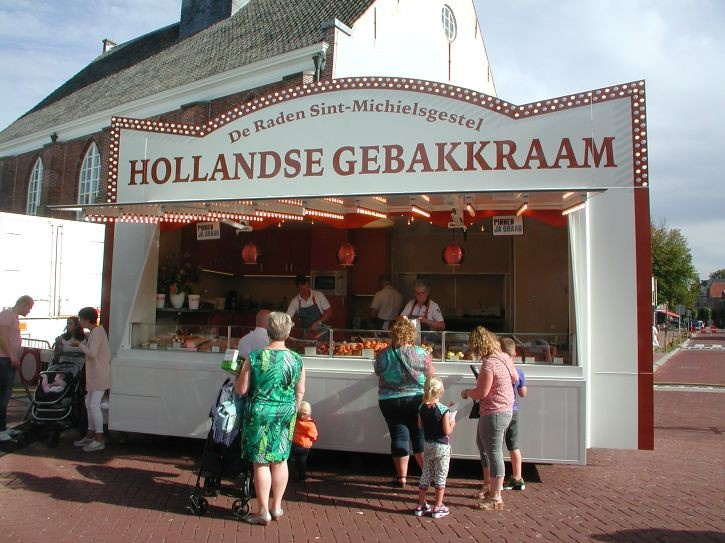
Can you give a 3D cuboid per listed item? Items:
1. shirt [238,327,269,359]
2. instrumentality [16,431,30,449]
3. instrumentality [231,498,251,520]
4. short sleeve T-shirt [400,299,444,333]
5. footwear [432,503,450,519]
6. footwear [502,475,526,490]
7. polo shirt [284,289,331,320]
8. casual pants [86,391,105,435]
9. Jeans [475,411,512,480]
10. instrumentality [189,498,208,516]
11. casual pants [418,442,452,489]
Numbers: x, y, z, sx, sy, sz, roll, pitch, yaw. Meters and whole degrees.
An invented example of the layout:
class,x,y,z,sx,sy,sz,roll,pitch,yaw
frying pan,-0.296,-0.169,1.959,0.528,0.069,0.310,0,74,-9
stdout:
class,x,y,z,sx,sy,sz,roll,pitch,yaw
shirt,-1.278,0.849,7.245,0.414,0.408,0.224,5,3,36
instrumentality,-4.886,2.418,8.790,0.049,0.166,0.159,-4,-13,10
instrumentality,-1.325,2.560,6.700,0.192,0.208,0.061,8,-1,-1
short sleeve T-shirt,0.911,0.630,9.379,0.680,0.631,0.431,-1,-7,18
footwear,0.847,2.619,6.713,0.228,0.109,0.087,1,-3,-44
footwear,1.863,2.603,7.558,0.278,0.136,0.131,-3,-7,33
polo shirt,-0.893,0.671,10.153,0.739,0.597,0.399,-4,-3,0
casual pants,-3.854,2.010,8.795,0.224,0.636,0.349,2,-3,-25
Jeans,1.467,1.953,7.028,0.397,0.728,0.309,-1,-3,36
instrumentality,-1.795,2.568,6.703,0.204,0.208,0.048,3,-2,-14
casual pants,0.787,2.123,6.755,0.304,0.532,0.151,0,-3,24
